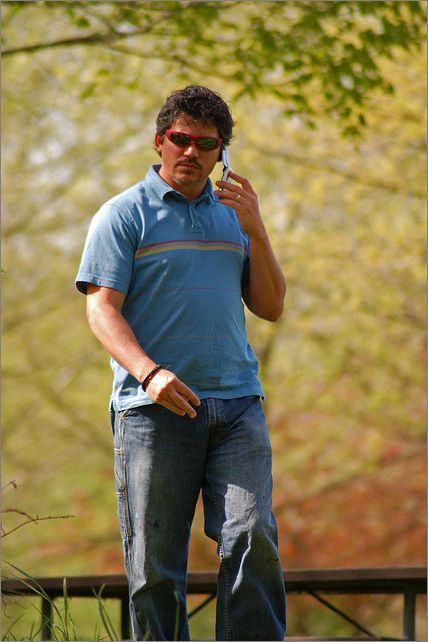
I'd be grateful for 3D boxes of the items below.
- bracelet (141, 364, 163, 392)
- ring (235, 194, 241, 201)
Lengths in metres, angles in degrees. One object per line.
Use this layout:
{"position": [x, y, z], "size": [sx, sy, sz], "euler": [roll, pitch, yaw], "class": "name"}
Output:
{"position": [-0.215, 0.200, 3.424], "size": [0.091, 0.026, 0.074], "euler": [-37, 12, -13], "class": "bracelet"}
{"position": [0.094, -0.460, 3.784], "size": [0.007, 0.022, 0.026], "euler": [26, -10, -8], "class": "ring"}
